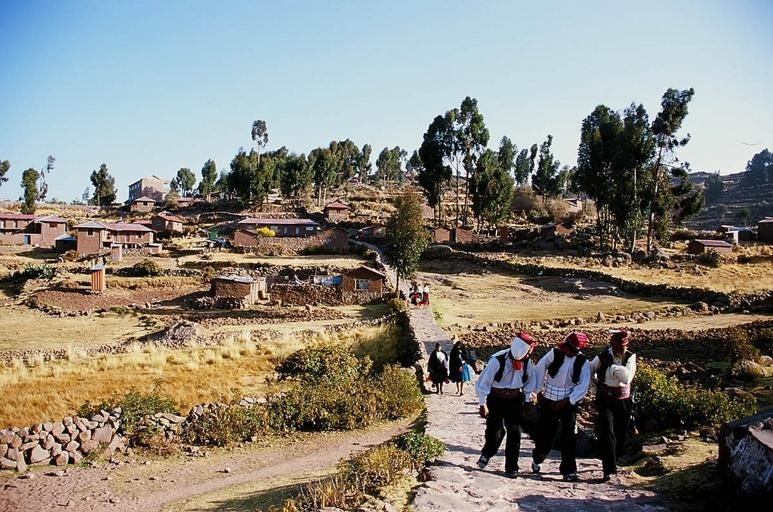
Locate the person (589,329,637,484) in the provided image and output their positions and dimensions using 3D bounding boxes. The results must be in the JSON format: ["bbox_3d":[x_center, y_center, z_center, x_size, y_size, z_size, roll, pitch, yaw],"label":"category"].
[{"bbox_3d":[6.706,4.335,18.885,0.994,4.222,1.451,5,10,39],"label":"person"}]

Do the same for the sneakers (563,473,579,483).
[{"bbox_3d":[5.488,6.494,18.659,0.473,0.202,0.174,-2,8,-2],"label":"sneakers"}]

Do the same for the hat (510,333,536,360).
[{"bbox_3d":[4.122,2.681,19.205,0.596,0.814,0.824,12,5,22],"label":"hat"}]

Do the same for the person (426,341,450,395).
[{"bbox_3d":[2.114,4.463,25.481,0.783,1.939,0.922,-1,8,4],"label":"person"}]

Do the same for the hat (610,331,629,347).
[{"bbox_3d":[6.998,2.388,18.990,0.534,0.415,0.340,4,10,37],"label":"hat"}]
